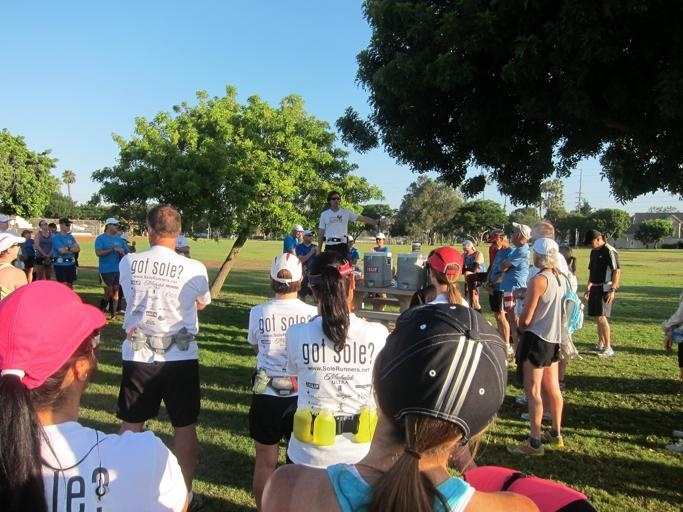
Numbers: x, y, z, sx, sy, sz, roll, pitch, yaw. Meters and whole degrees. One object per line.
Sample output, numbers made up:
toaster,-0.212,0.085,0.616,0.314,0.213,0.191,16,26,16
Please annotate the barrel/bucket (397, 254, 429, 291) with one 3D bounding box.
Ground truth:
barrel/bucket,1.288,0.271,9.562,0.449,0.640,0.614,2,1,29

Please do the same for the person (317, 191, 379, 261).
person,0.187,-0.336,10.492,1.332,1.945,0.362,3,23,7

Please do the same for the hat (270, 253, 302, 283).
hat,-0.474,0.067,4.783,0.292,0.250,0.509,4,10,-3

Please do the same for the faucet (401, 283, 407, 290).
faucet,1.118,0.540,9.326,0.079,0.090,0.062,-1,7,-1

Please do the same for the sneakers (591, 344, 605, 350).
sneakers,5.051,1.800,10.366,0.081,0.111,0.259,-1,-3,-2

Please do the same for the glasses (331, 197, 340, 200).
glasses,-0.107,-1.129,10.138,0.070,0.066,0.215,4,8,27

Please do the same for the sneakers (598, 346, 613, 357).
sneakers,5.092,1.841,10.102,0.378,0.195,0.144,5,-15,-38

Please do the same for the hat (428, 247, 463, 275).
hat,1.031,0.047,5.252,0.335,0.265,0.330,2,7,10

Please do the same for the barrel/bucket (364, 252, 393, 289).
barrel/bucket,0.674,0.231,9.876,0.535,0.668,0.526,1,2,0
